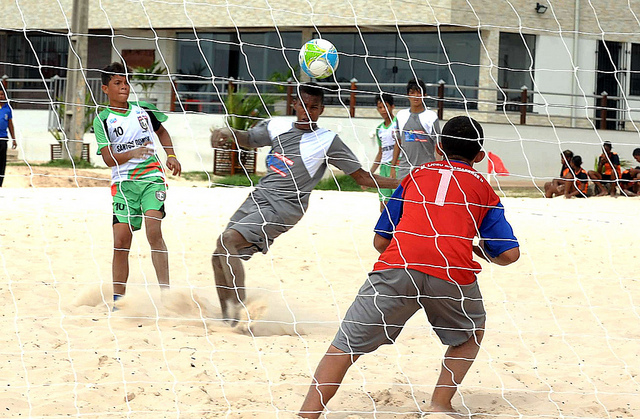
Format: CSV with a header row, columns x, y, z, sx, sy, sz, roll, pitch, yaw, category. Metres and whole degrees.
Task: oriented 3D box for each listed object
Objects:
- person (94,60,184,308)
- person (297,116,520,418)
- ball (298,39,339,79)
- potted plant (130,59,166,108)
x,y,z,sx,sy,sz,roll,pitch,yaw,category
-1.910,-0.264,8.160,0.789,2.546,0.645,-5,9,-14,person
0.809,0.507,6.582,1.701,2.477,0.373,-5,9,-15,person
-0.028,-1.596,8.167,0.382,0.399,0.239,-3,8,-1,ball
-4.454,-3.185,19.793,1.050,1.199,1.134,1,10,11,potted plant
